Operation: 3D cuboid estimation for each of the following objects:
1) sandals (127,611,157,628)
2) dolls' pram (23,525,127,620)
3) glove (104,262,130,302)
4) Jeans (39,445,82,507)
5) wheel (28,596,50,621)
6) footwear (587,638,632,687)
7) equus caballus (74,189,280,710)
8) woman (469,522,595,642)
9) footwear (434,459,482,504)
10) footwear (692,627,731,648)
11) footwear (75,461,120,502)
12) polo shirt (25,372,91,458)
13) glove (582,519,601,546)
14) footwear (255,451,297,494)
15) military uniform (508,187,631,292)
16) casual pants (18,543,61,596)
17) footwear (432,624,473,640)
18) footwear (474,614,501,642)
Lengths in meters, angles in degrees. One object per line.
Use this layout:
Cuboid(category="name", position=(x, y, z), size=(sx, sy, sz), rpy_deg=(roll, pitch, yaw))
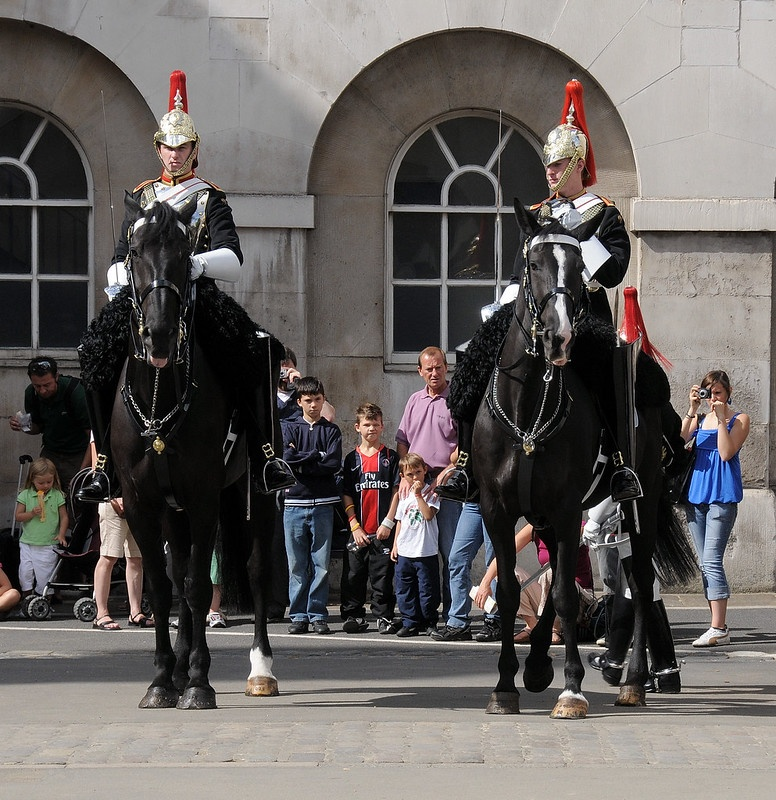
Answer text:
Cuboid(category="sandals", position=(-1.794, 1.606, 14.918), size=(0.135, 0.139, 0.341), rpy_deg=(5, -8, -42))
Cuboid(category="dolls' pram", position=(-2.488, 1.363, 15.634), size=(0.588, 0.846, 0.748), rpy_deg=(-2, -10, 26))
Cuboid(category="glove", position=(-1.555, -0.675, 11.658), size=(0.074, 0.239, 0.189), rpy_deg=(19, -32, -35))
Cuboid(category="Jeans", position=(-2.464, 0.589, 15.424), size=(0.428, 0.560, 0.307), rpy_deg=(0, -14, -6))
Cuboid(category="wheel", position=(-2.598, 1.550, 15.230), size=(0.169, 0.166, 0.095), rpy_deg=(2, -8, -43))
Cuboid(category="footwear", position=(1.378, 1.628, 12.599), size=(0.112, 0.137, 0.330), rpy_deg=(1, 13, -10))
Cuboid(category="equus caballus", position=(-1.086, 0.222, 11.603), size=(0.771, 2.976, 1.856), rpy_deg=(-2, -2, 15))
Cuboid(category="woman", position=(1.054, 1.184, 14.339), size=(0.539, 1.031, 0.715), rpy_deg=(2, 7, 44))
Cuboid(category="footwear", position=(0.411, 0.494, 12.014), size=(0.359, 0.255, 0.138), rpy_deg=(8, -4, -4))
Cuboid(category="footwear", position=(2.261, 1.650, 14.245), size=(0.309, 0.139, 0.112), rpy_deg=(-1, -3, -9))
Cuboid(category="footwear", position=(-1.666, 0.500, 11.947), size=(0.150, 0.203, 0.451), rpy_deg=(-2, -8, 14))
Cuboid(category="polo shirt", position=(-2.535, 0.111, 15.827), size=(0.605, 0.660, 0.352), rpy_deg=(5, 9, 28))
Cuboid(category="glove", position=(1.292, 0.831, 12.839), size=(0.119, 0.156, 0.081), rpy_deg=(5, -2, 37))
Cuboid(category="footwear", position=(-0.637, 0.423, 11.818), size=(0.226, 0.239, 0.175), rpy_deg=(-7, 7, -2))
Cuboid(category="military uniform", position=(1.057, -0.931, 11.918), size=(0.606, 0.588, 0.353), rpy_deg=(4, 0, 28))
Cuboid(category="casual pants", position=(-2.626, 1.270, 15.423), size=(0.286, 0.377, 0.169), rpy_deg=(-1, -2, -10))
Cuboid(category="footwear", position=(0.464, 1.637, 14.488), size=(0.296, 0.138, 0.107), rpy_deg=(3, -11, 4))
Cuboid(category="footwear", position=(0.722, 1.628, 14.579), size=(0.139, 0.176, 0.413), rpy_deg=(-3, -14, 22))
